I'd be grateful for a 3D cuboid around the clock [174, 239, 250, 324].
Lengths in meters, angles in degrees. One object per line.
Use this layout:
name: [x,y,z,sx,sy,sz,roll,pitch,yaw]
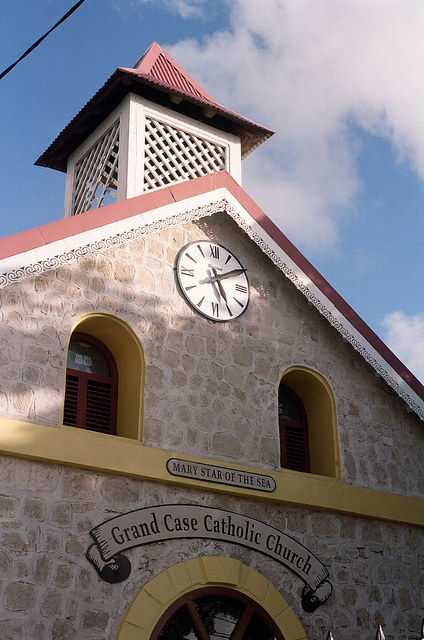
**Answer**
clock: [0.010,-0.518,12.273,1.121,0.140,1.162,19,-55,28]
